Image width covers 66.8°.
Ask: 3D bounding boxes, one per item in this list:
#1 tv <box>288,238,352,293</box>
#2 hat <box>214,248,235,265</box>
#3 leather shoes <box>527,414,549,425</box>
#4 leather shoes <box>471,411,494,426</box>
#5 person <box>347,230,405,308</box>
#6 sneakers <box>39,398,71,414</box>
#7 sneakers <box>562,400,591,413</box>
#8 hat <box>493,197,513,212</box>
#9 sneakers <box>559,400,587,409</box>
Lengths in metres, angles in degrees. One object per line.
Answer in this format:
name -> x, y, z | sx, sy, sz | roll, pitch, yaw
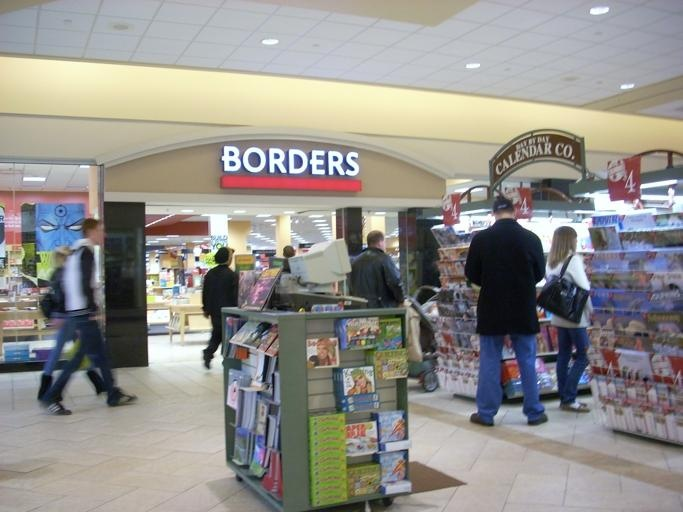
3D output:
tv -> -0.191, 0.075, 3.978 | 0.449, 0.337, 0.451 | -5, -7, 42
hat -> -1.820, -0.033, 8.057 | 0.203, 0.167, 0.320 | 1, 44, 12
leather shoes -> 1.875, 1.561, 4.964 | 0.234, 0.090, 0.077 | -6, 6, -31
leather shoes -> 1.365, 1.568, 4.985 | 0.097, 0.074, 0.202 | 0, 5, -23
person -> 0.436, 0.158, 6.470 | 0.658, 0.709, 0.439 | -2, 1, 7
sneakers -> -3.190, 1.689, 5.850 | 0.404, 0.167, 0.131 | 6, -1, -5
sneakers -> 2.441, 1.550, 5.362 | 0.295, 0.095, 0.111 | -2, -1, -2
hat -> 1.589, -0.505, 5.074 | 0.160, 0.106, 0.158 | -4, 6, -32
sneakers -> 2.421, 1.519, 5.365 | 0.293, 0.073, 0.111 | -3, 0, -2
